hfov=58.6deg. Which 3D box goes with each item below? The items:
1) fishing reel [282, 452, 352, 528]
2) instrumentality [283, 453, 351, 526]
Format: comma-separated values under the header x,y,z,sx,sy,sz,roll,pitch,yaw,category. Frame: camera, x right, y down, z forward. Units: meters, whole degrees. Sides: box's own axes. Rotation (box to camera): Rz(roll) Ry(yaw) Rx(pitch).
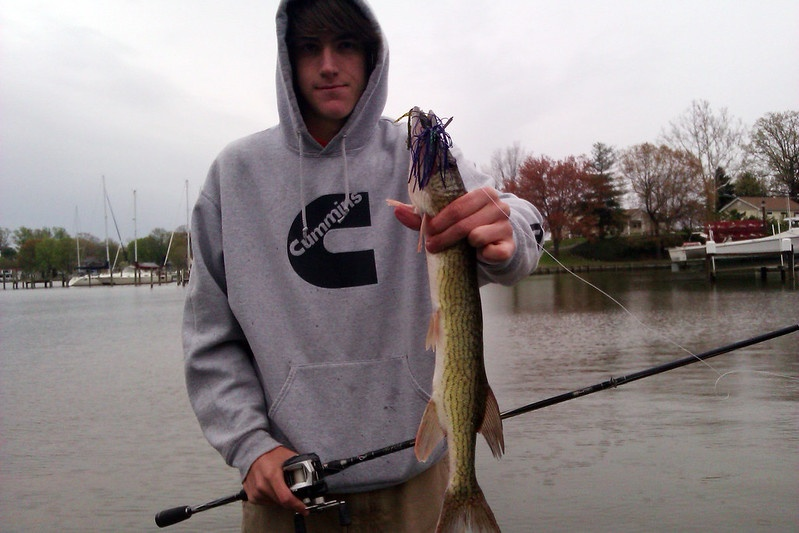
x,y,z,sx,sy,sz,roll,pitch,yaw,category
-0.542,1.426,4.626,0.289,0.418,0.254,-23,-32,6,fishing reel
-0.544,1.419,4.621,0.285,0.411,0.246,-22,-32,7,instrumentality
